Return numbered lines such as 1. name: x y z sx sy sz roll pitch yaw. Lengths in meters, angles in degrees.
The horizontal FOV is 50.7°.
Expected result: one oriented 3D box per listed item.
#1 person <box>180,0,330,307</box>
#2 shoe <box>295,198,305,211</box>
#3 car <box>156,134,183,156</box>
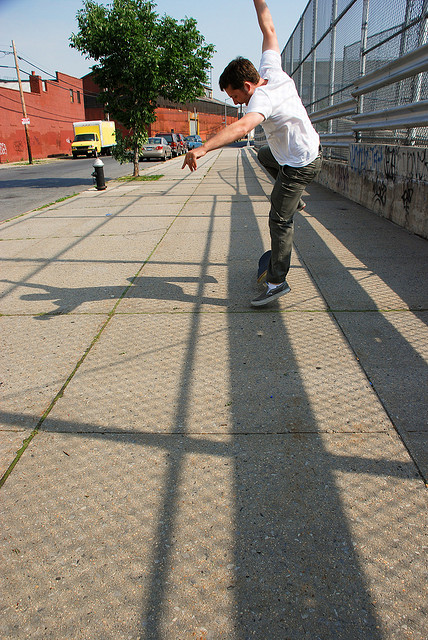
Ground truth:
1. person: 0.321 -1.061 3.187 0.565 2.159 1.324 11 23 31
2. shoe: 0.691 -0.928 3.644 0.060 0.085 0.194 -2 27 10
3. car: -3.353 -13.747 35.070 1.143 1.072 2.854 2 37 1
